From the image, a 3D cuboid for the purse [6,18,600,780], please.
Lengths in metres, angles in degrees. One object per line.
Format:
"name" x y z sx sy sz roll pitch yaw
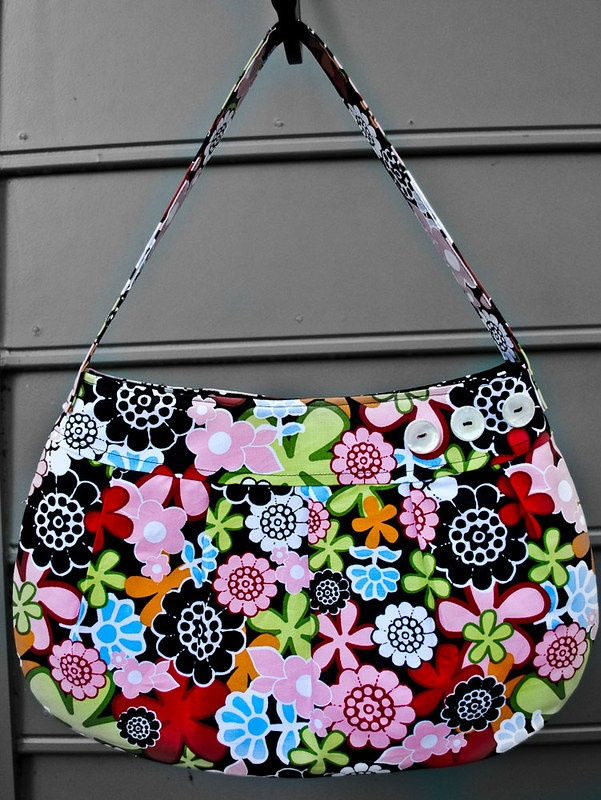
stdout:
"purse" -0.018 0.096 1.243 0.630 0.561 0.431 -9 -40 9
